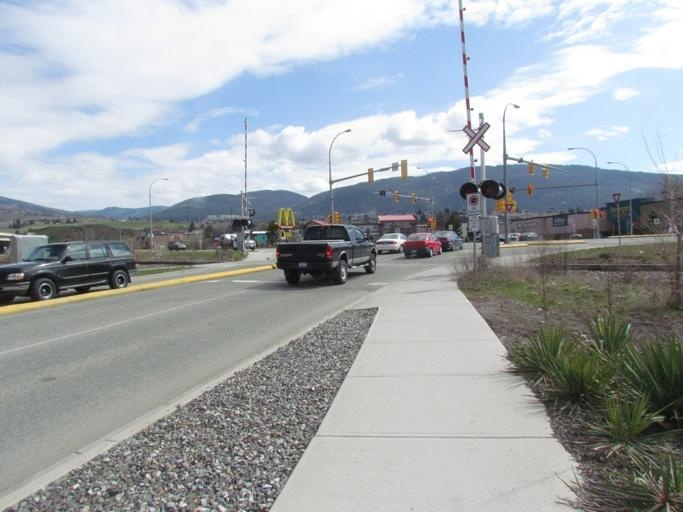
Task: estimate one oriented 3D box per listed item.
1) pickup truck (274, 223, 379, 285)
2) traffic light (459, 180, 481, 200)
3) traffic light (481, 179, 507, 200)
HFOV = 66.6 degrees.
[{"bbox_3d":[-0.440,-0.050,20.555,2.297,2.396,5.618,-1,9,19],"label":"pickup truck"},{"bbox_3d":[3.725,-1.877,15.012,0.526,0.477,1.262,-2,9,14],"label":"traffic light"},{"bbox_3d":[4.351,-1.857,14.853,0.505,0.403,0.750,2,-2,30],"label":"traffic light"}]
